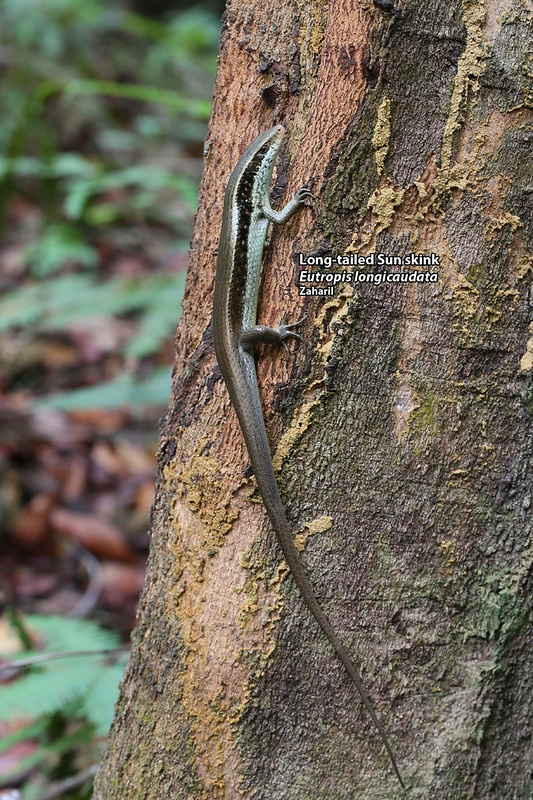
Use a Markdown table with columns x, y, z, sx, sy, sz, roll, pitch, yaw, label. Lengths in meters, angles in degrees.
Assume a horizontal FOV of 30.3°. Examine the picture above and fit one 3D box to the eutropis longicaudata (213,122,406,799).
| x | y | z | sx | sy | sz | roll | pitch | yaw | label |
| --- | --- | --- | --- | --- | --- | --- | --- | --- | --- |
| 0.084 | 0.025 | 2.904 | 0.431 | 2.104 | 0.251 | -18 | -22 | 40 | eutropis longicaudata |
